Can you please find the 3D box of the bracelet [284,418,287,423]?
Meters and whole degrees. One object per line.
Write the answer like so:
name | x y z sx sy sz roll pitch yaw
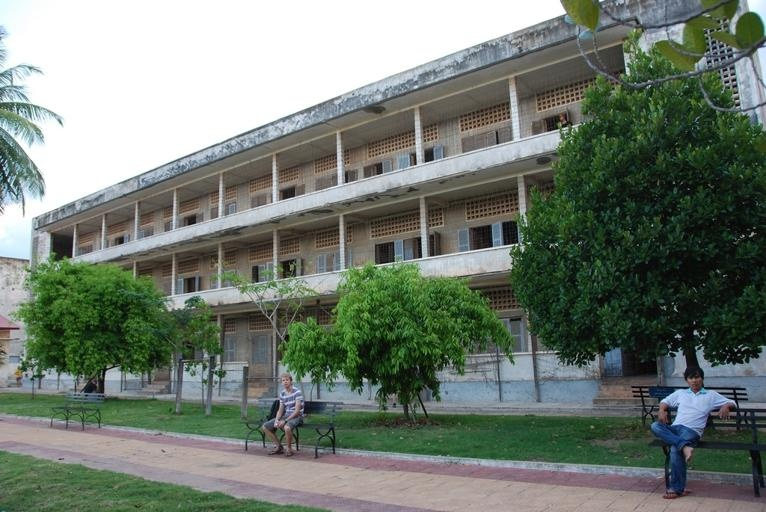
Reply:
bracelet | -2.413 4.042 15.855 0.072 0.104 0.099 1 -16 10

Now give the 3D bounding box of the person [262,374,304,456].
person | -2.523 4.013 16.382 0.956 1.988 1.325 2 -14 -10

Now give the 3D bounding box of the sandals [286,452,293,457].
sandals | -2.299 4.836 15.832 0.172 0.119 0.343 1 -14 -4
